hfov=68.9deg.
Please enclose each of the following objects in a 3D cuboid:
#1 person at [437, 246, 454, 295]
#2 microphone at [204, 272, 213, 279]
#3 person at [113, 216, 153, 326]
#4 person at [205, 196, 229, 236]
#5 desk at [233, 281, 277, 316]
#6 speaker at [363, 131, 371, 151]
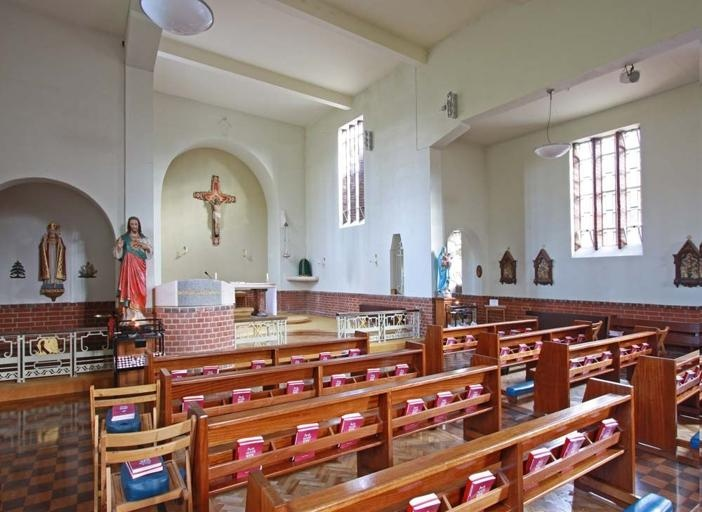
[{"bbox_3d":[2.217,0.358,12.142,0.326,1.156,0.278,-2,-3,9],"label":"person"},{"bbox_3d":[-4.201,0.562,15.163,0.162,0.167,0.568,-5,9,-21],"label":"microphone"},{"bbox_3d":[-4.226,0.215,9.977,0.661,1.984,0.374,-1,-3,-25],"label":"person"},{"bbox_3d":[-4.071,-1.190,15.505,0.591,1.202,0.312,-1,-3,-24],"label":"person"},{"bbox_3d":[-2.439,1.059,12.406,1.186,0.787,0.647,3,-7,-35],"label":"desk"},{"bbox_3d":[0.489,-3.127,13.797,0.135,0.560,0.291,0,-4,-42],"label":"speaker"}]
